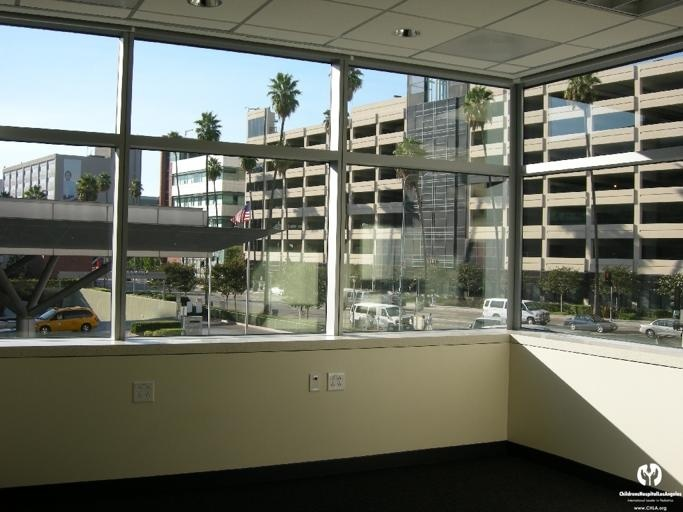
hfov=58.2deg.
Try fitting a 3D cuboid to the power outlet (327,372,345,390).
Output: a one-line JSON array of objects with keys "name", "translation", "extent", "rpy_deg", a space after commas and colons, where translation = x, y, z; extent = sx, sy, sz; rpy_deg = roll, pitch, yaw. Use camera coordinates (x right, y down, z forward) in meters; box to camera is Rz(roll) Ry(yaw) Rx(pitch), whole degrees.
[{"name": "power outlet", "translation": [-0.043, 1.073, 5.247], "extent": [0.147, 0.146, 0.138], "rpy_deg": [1, 0, 0]}]

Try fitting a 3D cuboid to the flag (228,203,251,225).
[{"name": "flag", "translation": [-0.867, -0.350, 5.158], "extent": [0.176, 0.196, 0.016], "rpy_deg": [-3, 17, -13]}]

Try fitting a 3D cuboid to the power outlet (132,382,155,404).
[{"name": "power outlet", "translation": [-1.546, 1.052, 4.752], "extent": [0.166, 0.159, 0.025], "rpy_deg": [1, -6, -19]}]
